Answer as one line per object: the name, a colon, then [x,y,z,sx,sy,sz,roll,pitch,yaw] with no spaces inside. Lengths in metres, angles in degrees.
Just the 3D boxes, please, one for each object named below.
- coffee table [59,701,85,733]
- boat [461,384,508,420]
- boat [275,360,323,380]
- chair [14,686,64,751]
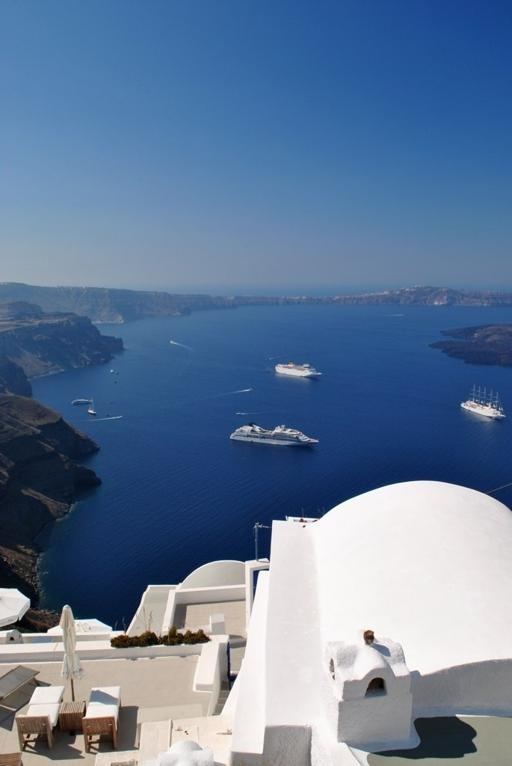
coffee table: [-2.540,4.599,8.251,0.317,0.354,0.329,-2,11,-3]
boat: [27.241,2.488,70.791,2.403,4.674,7.475,-4,6,-27]
boat: [5.960,-1.036,88.946,7.842,3.448,2.657,8,19,34]
chair: [-2.943,4.545,8.056,0.492,0.466,0.752,-1,8,-6]
